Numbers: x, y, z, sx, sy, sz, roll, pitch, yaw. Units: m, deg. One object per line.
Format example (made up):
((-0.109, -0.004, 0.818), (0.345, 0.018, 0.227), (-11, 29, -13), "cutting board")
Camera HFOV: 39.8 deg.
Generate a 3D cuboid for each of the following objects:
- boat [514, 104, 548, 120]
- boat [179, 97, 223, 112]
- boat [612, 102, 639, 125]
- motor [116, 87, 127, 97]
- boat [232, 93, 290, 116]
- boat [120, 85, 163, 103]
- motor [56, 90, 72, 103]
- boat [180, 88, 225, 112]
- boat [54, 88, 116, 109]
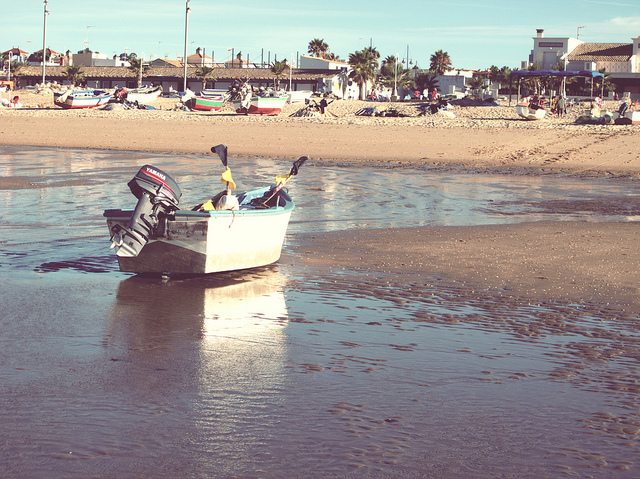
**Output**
((13.348, -8.036, 55.873), (0.994, 0.931, 2.336), (0, 7, -8), "boat")
((-9.285, -10.889, 71.525), (2.499, 1.110, 1.416), (-5, 11, -40), "boat")
((17.320, -7.048, 50.078), (1.389, 0.772, 1.966), (4, 13, 20), "boat")
((-16.268, -12.010, 72.827), (0.811, 0.730, 3.570), (-1, 7, -13), "motor")
((-4.400, -10.388, 68.499), (4.447, 0.973, 1.563), (-2, 9, -11), "boat")
((-16.111, -12.697, 78.426), (1.556, 0.942, 5.216), (17, 21, 28), "boat")
((-20.194, -11.256, 69.997), (0.729, 0.902, 1.106), (-8, 13, -43), "motor")
((-9.804, -11.035, 71.191), (1.553, 0.946, 4.181), (10, 8, 39), "boat")
((-18.731, -11.387, 72.636), (2.599, 0.801, 6.252), (10, 16, 31), "boat")
